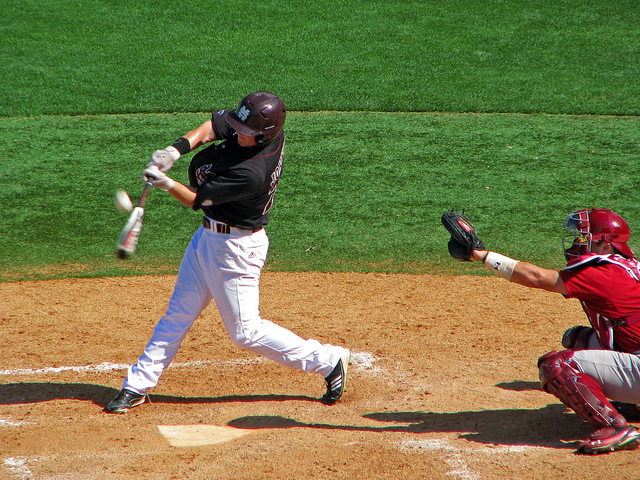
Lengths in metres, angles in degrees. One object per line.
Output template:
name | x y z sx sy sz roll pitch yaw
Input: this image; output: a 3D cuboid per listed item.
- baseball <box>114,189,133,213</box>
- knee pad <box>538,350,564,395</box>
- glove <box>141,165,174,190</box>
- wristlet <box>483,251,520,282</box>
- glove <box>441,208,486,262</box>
baseball | -2.045 -0.405 10.376 0.108 0.220 0.230 -26 1 -23
knee pad | 2.367 1.367 10.327 0.198 0.445 0.334 11 26 -7
glove | -1.657 -0.623 10.154 0.215 0.227 0.286 -12 32 -40
wristlet | 1.875 0.257 10.248 0.344 0.240 0.171 24 28 30
glove | 1.462 -0.013 10.362 0.304 0.505 0.438 -6 31 -33
